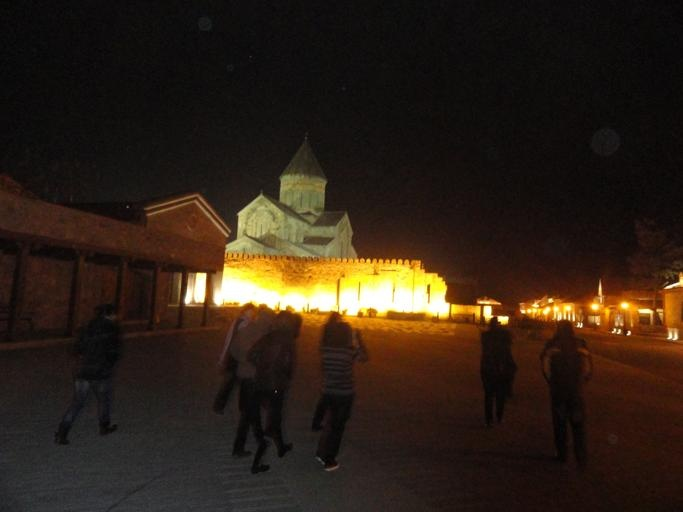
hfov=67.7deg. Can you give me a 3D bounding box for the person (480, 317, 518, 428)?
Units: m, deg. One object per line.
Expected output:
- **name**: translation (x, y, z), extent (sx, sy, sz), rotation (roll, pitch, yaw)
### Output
- **person**: translation (2.881, 2.120, 9.345), extent (0.601, 1.951, 0.704), rotation (2, -2, 17)

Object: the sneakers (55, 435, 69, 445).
- **sneakers**: translation (-4.177, 2.740, 7.651), extent (0.168, 0.179, 0.123), rotation (2, 0, -1)

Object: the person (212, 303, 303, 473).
- **person**: translation (-1.246, 1.908, 7.846), extent (0.812, 2.249, 1.563), rotation (4, -2, -25)

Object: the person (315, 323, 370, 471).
- **person**: translation (-0.020, 1.948, 7.304), extent (0.623, 2.172, 0.402), rotation (3, -2, -3)

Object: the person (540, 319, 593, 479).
- **person**: translation (3.492, 2.063, 7.810), extent (0.663, 2.102, 0.780), rotation (2, -2, 14)
